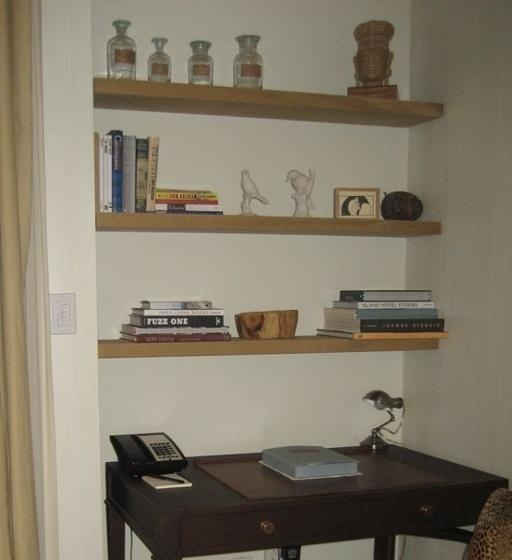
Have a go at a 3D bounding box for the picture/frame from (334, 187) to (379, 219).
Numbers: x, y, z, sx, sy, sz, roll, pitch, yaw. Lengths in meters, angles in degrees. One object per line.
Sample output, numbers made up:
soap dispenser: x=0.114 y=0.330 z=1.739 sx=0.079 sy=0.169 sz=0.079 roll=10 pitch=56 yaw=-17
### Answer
picture/frame: x=0.374 y=-0.284 z=2.557 sx=0.150 sy=0.093 sz=0.014 roll=1 pitch=-8 yaw=-6

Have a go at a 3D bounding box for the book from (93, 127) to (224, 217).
book: x=-0.323 y=-0.353 z=2.269 sx=0.416 sy=0.272 sz=0.087 roll=-2 pitch=7 yaw=-19

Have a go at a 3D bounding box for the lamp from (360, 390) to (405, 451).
lamp: x=0.495 y=0.531 z=2.674 sx=0.160 sy=0.261 sz=0.319 roll=1 pitch=6 yaw=10

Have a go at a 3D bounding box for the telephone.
telephone: x=-0.355 y=0.554 z=2.206 sx=0.240 sy=0.069 sz=0.244 roll=6 pitch=3 yaw=-12

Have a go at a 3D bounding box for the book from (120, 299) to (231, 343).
book: x=-0.274 y=0.136 z=2.322 sx=0.361 sy=0.131 sz=0.152 roll=-1 pitch=6 yaw=-10
